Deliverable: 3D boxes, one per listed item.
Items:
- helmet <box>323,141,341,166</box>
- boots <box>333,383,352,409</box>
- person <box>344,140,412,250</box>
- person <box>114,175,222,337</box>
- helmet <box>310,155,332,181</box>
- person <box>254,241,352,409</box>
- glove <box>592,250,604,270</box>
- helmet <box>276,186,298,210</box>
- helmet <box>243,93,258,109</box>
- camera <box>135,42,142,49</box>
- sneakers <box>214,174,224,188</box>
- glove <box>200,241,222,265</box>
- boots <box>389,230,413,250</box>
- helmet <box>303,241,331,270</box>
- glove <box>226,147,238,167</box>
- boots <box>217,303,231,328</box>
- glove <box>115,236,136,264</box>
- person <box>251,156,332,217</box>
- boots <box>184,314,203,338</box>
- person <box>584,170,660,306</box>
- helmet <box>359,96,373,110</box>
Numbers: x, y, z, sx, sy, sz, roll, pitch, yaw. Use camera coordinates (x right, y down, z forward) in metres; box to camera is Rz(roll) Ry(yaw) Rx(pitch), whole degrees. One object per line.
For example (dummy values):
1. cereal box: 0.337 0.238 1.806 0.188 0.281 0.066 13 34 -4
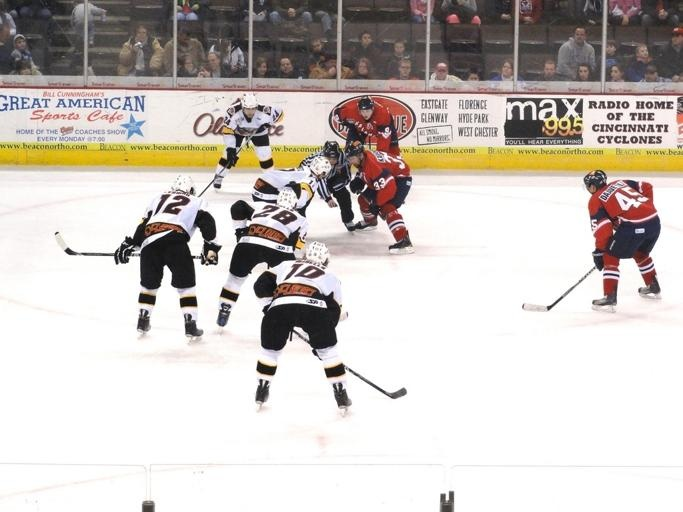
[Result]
1. helmet: -0.088 -1.096 9.463 0.218 0.232 0.235 -4 42 -1
2. boots: 0.013 0.978 6.407 0.153 0.200 0.106 0 7 -11
3. person: 0.393 -0.643 9.869 0.856 1.030 1.255 -2 13 -7
4. person: -1.440 -0.005 7.596 0.808 1.317 0.560 2 7 2
5. helmet: -0.211 -0.871 8.772 0.187 0.214 0.219 1 7 -3
6. person: -0.257 0.491 6.468 0.676 1.157 0.374 1 7 -3
7. glove: 2.337 0.030 8.249 0.129 0.150 0.060 -14 13 22
8. helmet: -0.435 -0.488 7.545 0.172 0.187 0.193 5 3 5
9. helmet: -1.114 -1.898 11.054 0.181 0.180 0.180 1 7 -6
10. camera: -2.930 -3.083 13.232 0.147 0.068 0.079 -7 2 14
11. sneakers: -1.568 -0.960 11.582 0.083 0.210 0.096 14 26 -3
12. glove: -1.088 -0.042 7.717 0.168 0.194 0.213 1 11 -2
13. boots: 0.623 -0.166 9.474 0.247 0.205 0.139 4 7 21
14. helmet: -0.169 -0.010 6.612 0.170 0.186 0.210 12 -10 6
15. glove: -1.377 -1.242 11.335 0.080 0.190 0.151 9 13 -16
16. boots: -0.979 0.488 7.569 0.142 0.186 0.066 -11 -2 17
17. glove: -1.843 -0.061 7.751 0.090 0.233 0.183 16 24 -44
18. person: -0.383 -0.705 9.038 0.288 0.483 0.717 14 -41 -31
19. boots: -1.219 0.575 7.397 0.115 0.149 0.233 1 11 10
20. person: 2.581 -0.129 8.262 0.722 1.141 0.351 -2 8 -27
21. helmet: 0.281 -1.736 10.202 0.175 0.158 0.278 2 6 1
